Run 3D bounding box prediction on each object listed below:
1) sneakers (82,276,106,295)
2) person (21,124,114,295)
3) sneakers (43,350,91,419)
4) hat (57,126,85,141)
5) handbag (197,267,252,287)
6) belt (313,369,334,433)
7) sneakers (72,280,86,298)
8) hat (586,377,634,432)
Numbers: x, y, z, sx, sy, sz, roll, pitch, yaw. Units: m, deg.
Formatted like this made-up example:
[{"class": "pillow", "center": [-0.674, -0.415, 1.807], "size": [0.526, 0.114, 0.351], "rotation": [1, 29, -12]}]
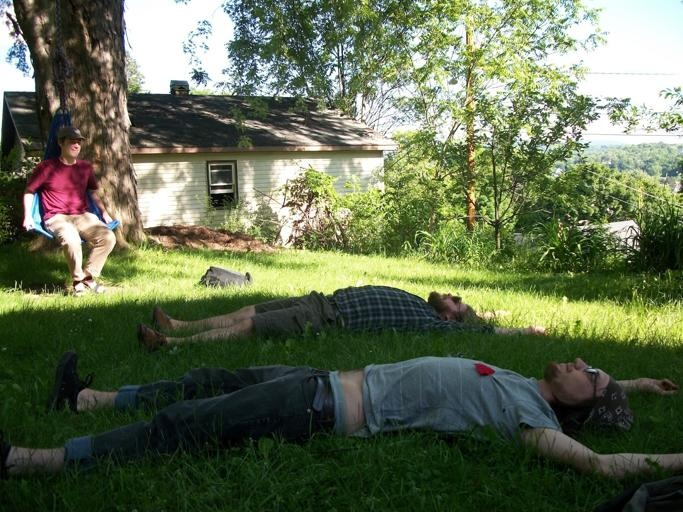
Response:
[{"class": "sneakers", "center": [-3.421, 0.399, 9.435], "size": [0.380, 0.172, 0.166], "rotation": [12, 17, 41]}, {"class": "person", "center": [-3.764, -0.660, 9.503], "size": [1.144, 2.287, 0.860], "rotation": [1, 7, -20]}, {"class": "sneakers", "center": [-2.311, 1.091, 5.753], "size": [0.243, 0.635, 0.201], "rotation": [0, -18, 12]}, {"class": "hat", "center": [-3.736, -1.682, 9.390], "size": [0.248, 0.144, 0.190], "rotation": [-2, 1, 19]}, {"class": "handbag", "center": [-1.626, 0.318, 9.531], "size": [0.471, 0.184, 0.364], "rotation": [6, -1, -17]}, {"class": "belt", "center": [-0.141, 1.139, 5.332], "size": [0.089, 0.357, 0.246], "rotation": [3, -5, -11]}, {"class": "sneakers", "center": [-3.548, 0.440, 9.238], "size": [0.155, 0.169, 0.399], "rotation": [1, 8, -22]}, {"class": "hat", "center": [2.174, 1.201, 5.480], "size": [0.352, 0.348, 0.402], "rotation": [-15, -10, 34]}]
